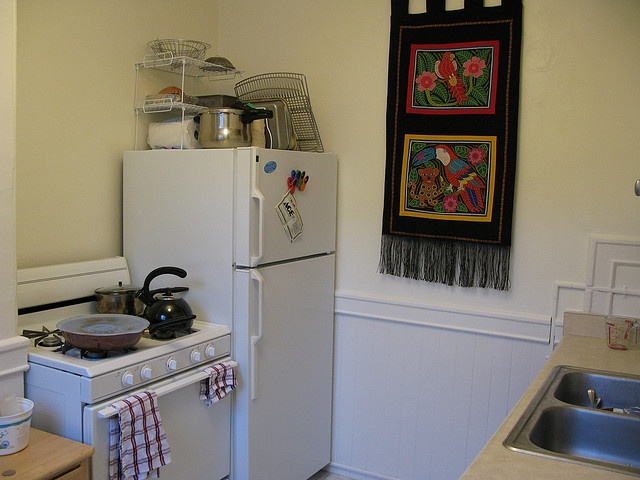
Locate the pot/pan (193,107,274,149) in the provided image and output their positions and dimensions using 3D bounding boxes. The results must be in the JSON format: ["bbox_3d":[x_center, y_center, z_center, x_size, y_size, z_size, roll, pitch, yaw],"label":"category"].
[{"bbox_3d":[-0.492,-0.587,2.752,0.214,0.144,0.322,3,5,34],"label":"pot/pan"}]

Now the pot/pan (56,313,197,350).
[{"bbox_3d":[-0.899,0.382,2.259,0.327,0.093,0.219,2,-2,-2],"label":"pot/pan"}]

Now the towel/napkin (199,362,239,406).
[{"bbox_3d":[-0.484,0.710,2.571,0.176,0.068,0.209,-9,21,-4],"label":"towel/napkin"}]

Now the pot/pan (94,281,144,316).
[{"bbox_3d":[-1.023,0.298,2.718,0.240,0.178,0.254,1,1,5],"label":"pot/pan"}]

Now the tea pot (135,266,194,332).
[{"bbox_3d":[-0.771,0.286,2.550,0.282,0.312,0.207,1,-2,-3],"label":"tea pot"}]
